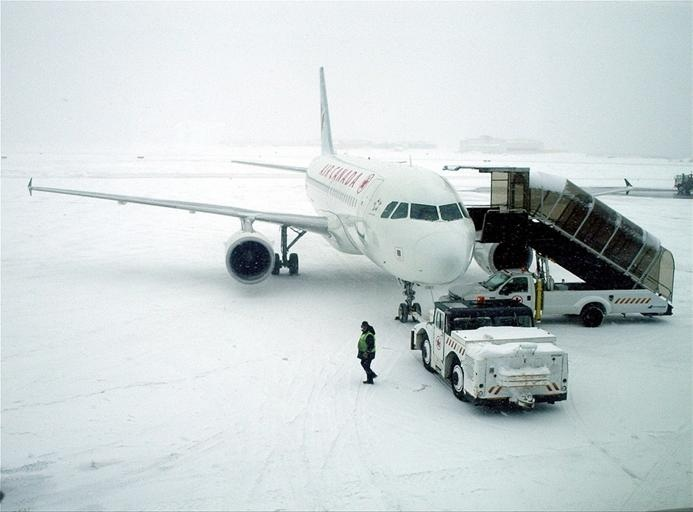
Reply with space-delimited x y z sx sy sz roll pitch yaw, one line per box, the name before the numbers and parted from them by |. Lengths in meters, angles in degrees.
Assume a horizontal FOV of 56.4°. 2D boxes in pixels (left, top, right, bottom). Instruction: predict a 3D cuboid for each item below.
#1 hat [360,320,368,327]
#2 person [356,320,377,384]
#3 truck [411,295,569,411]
hat | 0.417 1.598 15.149 0.197 0.158 0.259 -2 -3 -1
person | 0.507 2.217 15.359 0.429 1.499 0.881 0 13 3
truck | 3.443 2.172 15.694 2.450 1.913 4.391 0 8 -14
